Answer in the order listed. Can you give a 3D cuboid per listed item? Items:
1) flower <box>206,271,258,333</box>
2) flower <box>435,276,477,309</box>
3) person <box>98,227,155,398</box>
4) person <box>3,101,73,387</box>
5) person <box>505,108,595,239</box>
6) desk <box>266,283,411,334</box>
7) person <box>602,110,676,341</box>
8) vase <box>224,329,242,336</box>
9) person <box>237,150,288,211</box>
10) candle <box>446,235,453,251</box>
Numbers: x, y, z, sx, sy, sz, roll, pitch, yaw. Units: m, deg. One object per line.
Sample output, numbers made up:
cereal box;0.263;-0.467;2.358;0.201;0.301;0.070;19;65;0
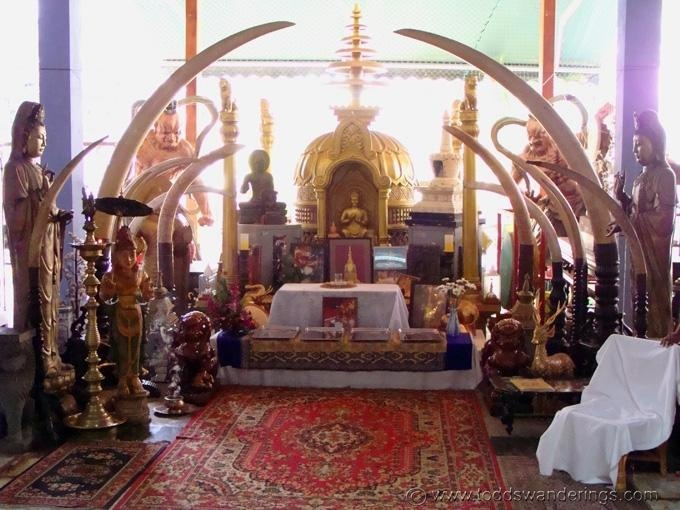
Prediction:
flower;-1.290;0.596;7.315;0.555;0.608;0.387;5;15;21
flower;1.475;0.429;7.358;0.458;0.498;0.483;0;3;-2
person;-2.158;0.570;6.115;0.376;1.670;0.406;-5;15;-17
person;-2.945;-0.046;5.957;0.502;2.765;0.773;-7;15;-25
person;3.252;-1.205;9.521;1.272;1.882;0.616;13;11;40
desk;-0.022;0.659;7.560;1.701;0.470;0.641;-1;14;0
person;3.070;-0.305;6.141;0.319;2.200;0.671;-13;19;-41
vase;-1.247;0.901;7.162;0.222;0.036;0.090;2;15;11
person;-1.287;-1.227;9.899;0.676;0.889;0.655;1;14;7
candle;1.603;-0.185;9.019;0.115;0.230;0.435;2;15;12
